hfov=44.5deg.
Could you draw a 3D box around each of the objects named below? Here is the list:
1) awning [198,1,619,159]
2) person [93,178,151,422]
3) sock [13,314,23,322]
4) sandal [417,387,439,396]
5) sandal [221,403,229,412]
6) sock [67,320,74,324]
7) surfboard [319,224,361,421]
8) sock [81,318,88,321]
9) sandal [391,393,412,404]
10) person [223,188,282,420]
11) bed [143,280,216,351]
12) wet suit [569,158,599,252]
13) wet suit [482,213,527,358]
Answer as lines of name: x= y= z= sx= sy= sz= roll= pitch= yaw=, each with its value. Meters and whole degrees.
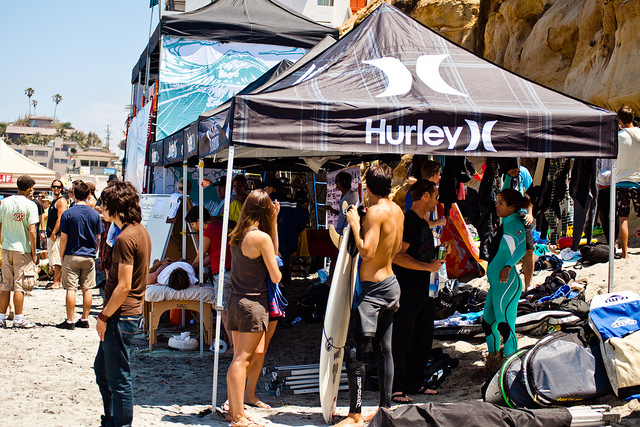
awning: x=1.853 y=-2.792 z=15.925 sx=5.631 sy=2.750 sz=5.930 roll=0 pitch=-2 yaw=-12
person: x=-2.890 y=1.256 z=11.281 sx=0.742 sy=3.522 sz=0.423 roll=0 pitch=-3 yaw=17
sock: x=-5.894 y=2.010 z=15.187 sx=0.129 sy=0.147 sz=0.130 roll=0 pitch=-2 yaw=-7
sandal: x=1.763 y=2.879 z=12.766 sx=0.362 sy=0.177 sz=0.118 roll=2 pitch=-1 yaw=-3
sandal: x=-1.478 y=2.944 z=12.036 sx=0.098 sy=0.133 sz=0.357 roll=2 pitch=-3 yaw=-13
sock: x=-4.896 y=2.111 z=15.290 sx=0.125 sy=0.051 sz=0.066 roll=4 pitch=-4 yaw=-41
surfboard: x=0.294 y=1.640 z=11.690 sx=0.632 sy=2.922 sz=0.428 roll=2 pitch=-3 yaw=-15
sock: x=-4.705 y=2.079 z=15.488 sx=0.110 sy=0.048 sz=0.046 roll=1 pitch=-3 yaw=3
sandal: x=1.232 y=2.838 z=12.111 sx=0.374 sy=0.183 sz=0.122 roll=3 pitch=-2 yaw=1
person: x=-1.018 y=1.340 z=11.619 sx=0.704 sy=3.386 sz=0.309 roll=1 pitch=-3 yaw=-9
bed: x=-2.553 y=1.956 z=14.325 sx=1.202 sy=1.160 sz=1.339 roll=0 pitch=0 yaw=-14
wet suit: x=4.471 y=-0.159 z=13.224 sx=0.401 sy=1.510 sz=0.475 roll=0 pitch=-3 yaw=20
wet suit: x=3.017 y=1.146 z=12.769 sx=0.719 sy=2.331 sz=0.377 roll=0 pitch=-3 yaw=26
